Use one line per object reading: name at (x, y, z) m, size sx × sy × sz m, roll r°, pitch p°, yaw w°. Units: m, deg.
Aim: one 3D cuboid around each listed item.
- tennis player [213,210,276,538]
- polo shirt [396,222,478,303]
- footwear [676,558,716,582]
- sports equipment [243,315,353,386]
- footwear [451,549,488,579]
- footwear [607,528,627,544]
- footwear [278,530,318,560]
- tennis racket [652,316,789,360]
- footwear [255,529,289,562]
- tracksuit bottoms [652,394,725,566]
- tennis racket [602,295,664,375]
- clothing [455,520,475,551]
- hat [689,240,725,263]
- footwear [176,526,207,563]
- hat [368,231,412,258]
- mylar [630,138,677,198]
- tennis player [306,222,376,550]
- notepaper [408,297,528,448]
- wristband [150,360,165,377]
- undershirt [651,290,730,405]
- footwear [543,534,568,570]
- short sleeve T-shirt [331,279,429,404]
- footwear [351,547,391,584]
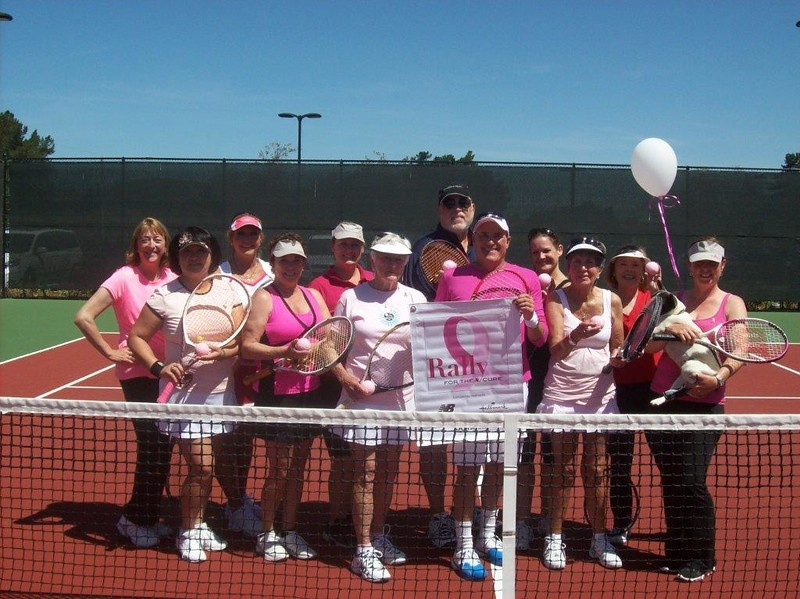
tennis player at (-1.239, 0.598, 7.030) m, size 0.531 × 2.499 × 0.241 m, roll 2°, pitch 5°, yaw -9°
polo shirt at (0.256, -0.381, 7.408) m, size 0.131 × 0.637 × 0.578 m, roll 22°, pitch 2°, yaw 32°
footwear at (2.151, 1.951, 6.347) m, size 0.255 × 0.127 × 0.120 m, roll -13°, pitch 9°, yaw -7°
sports equipment at (-0.620, 0.332, 6.260) m, size 0.647 × 0.346 × 0.234 m, roll 3°, pitch 1°, yaw 25°
footwear at (0.516, 1.942, 6.413) m, size 0.260 × 0.185 × 0.143 m, roll 3°, pitch 1°, yaw 5°
footwear at (1.666, 1.821, 6.703) m, size 0.087 × 0.096 × 0.051 m, roll -24°, pitch 1°, yaw -10°
footwear at (-0.753, 1.832, 6.544) m, size 0.284 × 0.133 × 0.144 m, roll 3°, pitch 3°, yaw 35°
tennis racket at (2.422, 0.291, 6.249) m, size 0.623 × 0.332 × 0.377 m, roll 2°, pitch 1°, yaw -17°
footwear at (-0.943, 1.844, 6.484) m, size 0.130 × 0.154 × 0.291 m, roll 9°, pitch -18°, yaw -35°
tracksuit bottoms at (2.091, 1.462, 6.453) m, size 0.477 × 1.153 × 0.280 m, roll 2°, pitch 1°, yaw 16°
tennis racket at (1.752, 0.282, 6.336) m, size 0.077 × 0.616 × 0.377 m, roll 13°, pitch 27°, yaw -27°
clothing at (0.490, 1.756, 6.543) m, size 0.134 × 0.186 × 0.230 m, roll 2°, pitch 1°, yaw 6°
hat at (2.284, -0.349, 6.523) m, size 0.311 × 0.196 × 0.481 m, roll 0°, pitch 0°, yaw 19°
footwear at (-1.542, 1.831, 6.479) m, size 0.152 × 0.194 × 0.262 m, roll 4°, pitch -12°, yaw -24°
hat at (-0.067, -0.407, 6.428) m, size 0.278 × 0.141 × 0.275 m, roll 3°, pitch 1°, yaw -5°
mylar at (2.363, -1.157, 8.098) m, size 0.372 × 0.743 × 0.398 m, roll -5°, pitch -10°, yaw 17°
tennis player at (-0.316, 0.652, 6.748) m, size 0.219 × 2.468 × 0.546 m, roll -4°, pitch 25°, yaw -35°
notepaper at (0.506, 0.490, 6.326) m, size 0.804 × 1.209 × 0.036 m, roll -4°, pitch 31°, yaw 5°
wristband at (-1.788, 0.513, 6.457) m, size 0.043 × 0.093 × 0.113 m, roll 15°, pitch -42°, yaw -39°
undershirt at (2.122, 0.335, 6.335) m, size 0.819 × 0.585 × 0.265 m, roll -34°, pitch 21°, yaw -25°
footwear at (1.158, 1.866, 6.538) m, size 0.180 × 0.232 × 0.257 m, roll 2°, pitch 1°, yaw 10°
short sleeve T-shirt at (-0.189, 0.289, 6.387) m, size 0.502 × 1.025 × 0.249 m, roll 2°, pitch -6°, yaw 34°
footwear at (-0.217, 1.924, 6.325) m, size 0.167 × 0.204 × 0.301 m, roll 6°, pitch -6°, yaw -40°
